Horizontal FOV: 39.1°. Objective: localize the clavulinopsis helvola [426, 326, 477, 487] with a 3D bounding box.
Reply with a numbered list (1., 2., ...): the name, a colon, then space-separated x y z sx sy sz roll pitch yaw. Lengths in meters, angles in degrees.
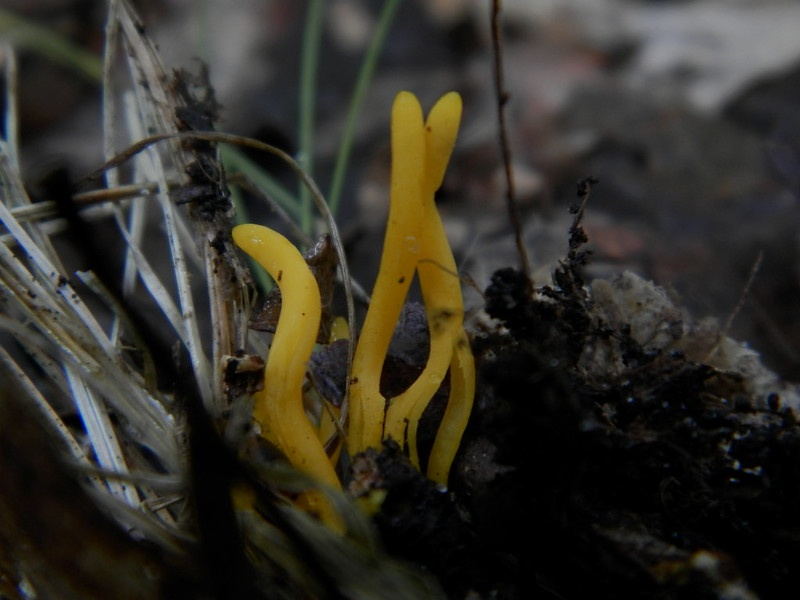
1. clavulinopsis helvola: 0.070 0.147 1.429 0.038 0.266 0.029 11 7 11
